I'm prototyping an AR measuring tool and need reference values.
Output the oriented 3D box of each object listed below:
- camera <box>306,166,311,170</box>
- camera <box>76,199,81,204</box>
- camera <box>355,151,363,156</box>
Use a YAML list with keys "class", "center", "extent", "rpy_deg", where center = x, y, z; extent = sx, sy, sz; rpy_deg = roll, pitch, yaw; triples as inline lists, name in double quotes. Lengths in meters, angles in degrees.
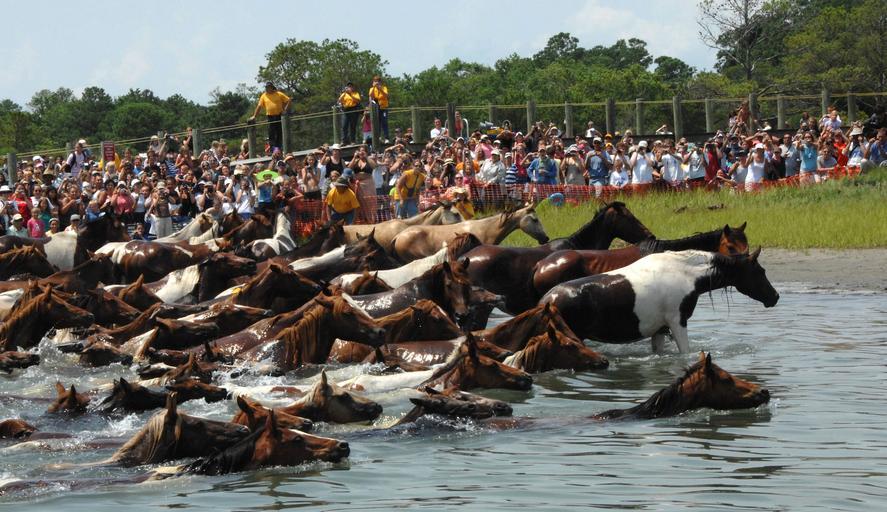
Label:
- class: "camera"
  center: [-4.837, -3.188, 59.124]
  extent: [0.070, 0.123, 0.287]
  rpy_deg: [-5, -1, 34]
- class: "camera"
  center: [-12.596, -1.962, 57.435]
  extent: [0.216, 0.168, 0.122]
  rpy_deg: [-4, -3, 18]
- class: "camera"
  center: [-3.017, -3.653, 58.709]
  extent: [0.184, 0.213, 0.468]
  rpy_deg: [-4, 0, -31]
